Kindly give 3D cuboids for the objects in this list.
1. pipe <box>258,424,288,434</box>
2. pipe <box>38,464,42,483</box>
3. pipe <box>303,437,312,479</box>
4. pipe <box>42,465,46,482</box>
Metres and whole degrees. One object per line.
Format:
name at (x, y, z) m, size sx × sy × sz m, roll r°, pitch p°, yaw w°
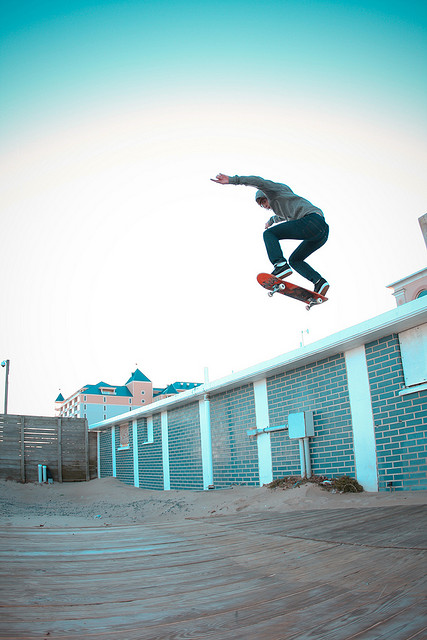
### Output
pipe at (0.920, 1.723, 7.415) m, size 0.074 × 0.142 × 0.788 m, roll 0°, pitch -12°, yaw -25°
pipe at (-4.772, 4.231, 13.023) m, size 0.102 × 0.446 × 0.156 m, roll -1°, pitch -13°, yaw -20°
pipe at (1.315, 1.901, 6.580) m, size 0.089 × 0.506 × 0.185 m, roll -8°, pitch -12°, yaw 14°
pipe at (-4.675, 4.258, 13.077) m, size 0.085 × 0.428 × 0.147 m, roll 0°, pitch -13°, yaw -24°
